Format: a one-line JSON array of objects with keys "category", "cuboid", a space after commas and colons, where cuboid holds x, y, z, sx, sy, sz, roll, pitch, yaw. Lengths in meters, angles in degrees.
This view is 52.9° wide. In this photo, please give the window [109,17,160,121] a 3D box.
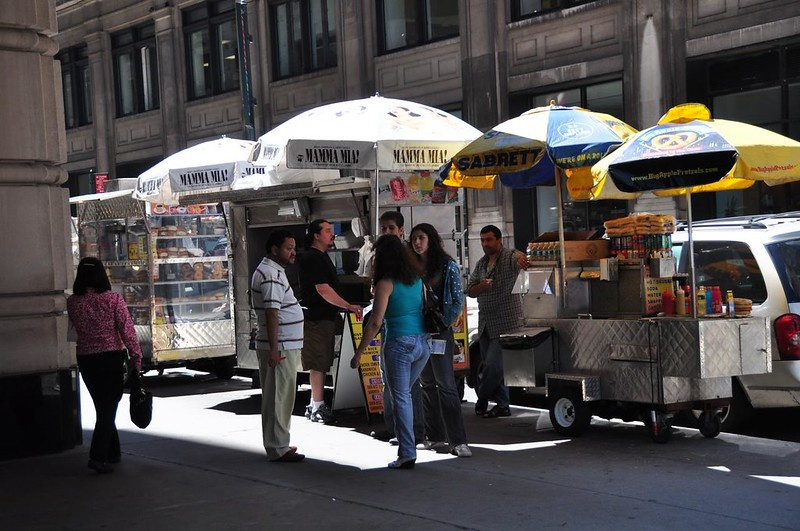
[{"category": "window", "cuboid": [-9.597, -7.223, 29.257, 0.370, 4.392, 3.811, 1, -2, -44]}]

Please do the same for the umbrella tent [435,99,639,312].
[{"category": "umbrella tent", "cuboid": [2.386, -1.102, 11.677, 3.317, 2.340, 3.219, 1, 3, 28]}]

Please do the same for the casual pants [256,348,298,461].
[{"category": "casual pants", "cuboid": [-1.427, 1.663, 9.629, 0.449, 1.306, 0.191, -2, 3, -7]}]

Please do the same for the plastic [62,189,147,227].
[{"category": "plastic", "cuboid": [-5.725, -1.103, 15.722, 1.324, 0.353, 0.624, 8, 31, 44]}]

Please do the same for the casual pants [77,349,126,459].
[{"category": "casual pants", "cuboid": [-3.461, 1.641, 9.392, 0.533, 1.283, 0.325, -2, 3, -22]}]

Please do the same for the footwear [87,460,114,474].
[{"category": "footwear", "cuboid": [-3.484, 2.325, 9.301, 0.317, 0.138, 0.129, 4, 9, -11]}]

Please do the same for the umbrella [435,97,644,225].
[{"category": "umbrella", "cuboid": [1.908, -1.608, 10.735, 1.824, 0.667, 1.830, -16, 8, -15]}]

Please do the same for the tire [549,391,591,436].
[{"category": "tire", "cuboid": [2.224, 1.919, 10.417, 0.190, 0.551, 0.539, 0, 12, -34]}]

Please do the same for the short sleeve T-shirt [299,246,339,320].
[{"category": "short sleeve T-shirt", "cuboid": [-1.134, 0.291, 11.122, 0.566, 0.998, 0.954, -3, 7, -3]}]

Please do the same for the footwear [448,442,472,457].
[{"category": "footwear", "cuboid": [0.746, 2.235, 9.700, 0.106, 0.119, 0.293, 1, -5, -19]}]

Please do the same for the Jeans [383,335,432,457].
[{"category": "Jeans", "cuboid": [0.094, 1.525, 9.491, 0.557, 1.505, 0.689, -2, -3, 21]}]

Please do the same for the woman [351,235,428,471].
[{"category": "woman", "cuboid": [-0.033, 0.993, 9.322, 0.780, 2.678, 0.366, -1, 3, -3]}]

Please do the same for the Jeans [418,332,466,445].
[{"category": "Jeans", "cuboid": [0.502, 1.527, 9.997, 0.392, 1.330, 0.573, 5, -6, -25]}]

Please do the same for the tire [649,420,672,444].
[{"category": "tire", "cuboid": [3.217, 2.054, 9.946, 0.291, 0.344, 0.152, 3, 4, 14]}]

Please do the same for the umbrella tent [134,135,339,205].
[{"category": "umbrella tent", "cuboid": [-3.702, -1.511, 14.577, 2.465, 0.795, 2.364, -12, -3, -37]}]

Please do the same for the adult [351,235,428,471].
[{"category": "adult", "cuboid": [-0.028, 0.993, 9.322, 0.771, 2.678, 0.366, -1, 3, -3]}]

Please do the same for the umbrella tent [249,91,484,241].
[{"category": "umbrella tent", "cuboid": [-0.472, -1.637, 13.286, 3.916, 2.350, 3.647, -4, 11, -25]}]

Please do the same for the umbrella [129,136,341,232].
[{"category": "umbrella", "cuboid": [-2.789, -1.317, 13.881, 2.355, 0.792, 2.332, -12, 1, -37]}]

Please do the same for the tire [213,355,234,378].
[{"category": "tire", "cuboid": [-3.473, 1.988, 15.885, 0.437, 0.450, 0.161, 6, 9, 29]}]

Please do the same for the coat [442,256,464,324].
[{"category": "coat", "cuboid": [0.639, 0.342, 9.863, 0.163, 0.690, 0.400, 2, -8, -1]}]
